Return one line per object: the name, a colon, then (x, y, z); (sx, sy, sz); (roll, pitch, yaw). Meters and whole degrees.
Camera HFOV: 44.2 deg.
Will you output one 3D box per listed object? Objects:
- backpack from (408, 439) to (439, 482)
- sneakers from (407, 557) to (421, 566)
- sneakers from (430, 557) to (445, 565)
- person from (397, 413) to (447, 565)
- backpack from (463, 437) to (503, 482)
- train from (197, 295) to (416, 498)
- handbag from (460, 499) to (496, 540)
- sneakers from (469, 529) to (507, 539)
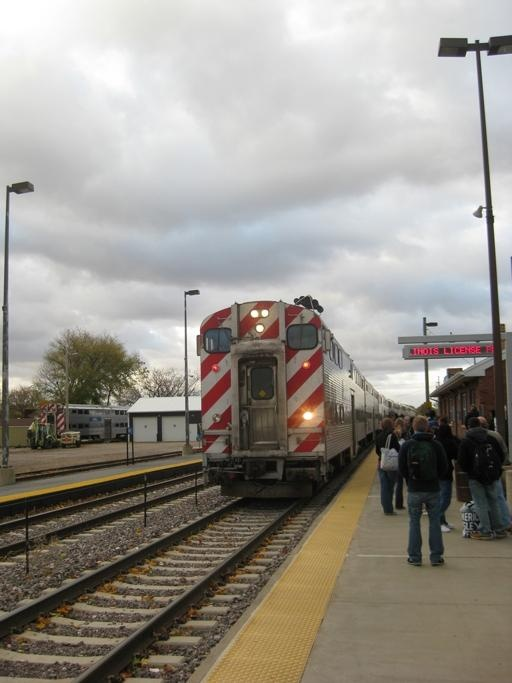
backpack: (1.792, 1.309, 6.961); (0.258, 0.427, 0.324); (12, -14, -36)
sneakers: (1.687, 2.348, 6.724); (0.153, 0.065, 0.232); (-2, -4, 11)
sneakers: (1.927, 2.341, 6.689); (0.149, 0.071, 0.143); (-2, -5, 9)
person: (1.858, 1.633, 6.965); (0.521, 1.578, 0.561); (-2, -5, 11)
backpack: (2.858, 1.486, 7.961); (0.548, 0.581, 0.326); (-1, -26, 6)
train: (1.243, 1.294, 14.536); (2.384, 3.889, 5.984); (-4, -5, 26)
handbag: (2.901, 2.357, 8.386); (0.414, 0.555, 0.401); (-4, -2, 7)
sneakers: (3.007, 2.493, 8.116); (0.395, 0.159, 0.155); (2, -7, 12)
